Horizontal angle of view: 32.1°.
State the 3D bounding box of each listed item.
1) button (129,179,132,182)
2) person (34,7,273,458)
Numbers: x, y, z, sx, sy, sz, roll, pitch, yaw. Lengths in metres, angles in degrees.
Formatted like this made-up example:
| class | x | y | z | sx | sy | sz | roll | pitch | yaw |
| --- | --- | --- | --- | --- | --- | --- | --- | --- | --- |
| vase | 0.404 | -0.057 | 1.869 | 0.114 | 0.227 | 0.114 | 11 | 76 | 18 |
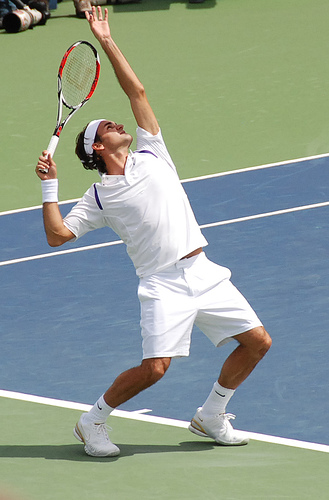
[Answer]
| class | x | y | z | sx | sy | sz | roll | pitch | yaw |
| --- | --- | --- | --- | --- | --- | --- | --- | --- | --- |
| button | -0.178 | -0.371 | 3.039 | 0.019 | 0.015 | 0.004 | 3 | -7 | 11 |
| person | -0.073 | -0.201 | 3.310 | 1.259 | 2.490 | 1.233 | -4 | 12 | -12 |
